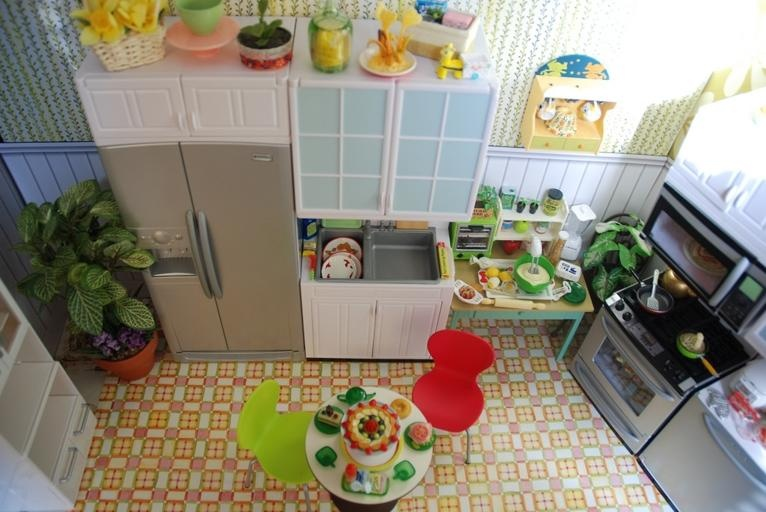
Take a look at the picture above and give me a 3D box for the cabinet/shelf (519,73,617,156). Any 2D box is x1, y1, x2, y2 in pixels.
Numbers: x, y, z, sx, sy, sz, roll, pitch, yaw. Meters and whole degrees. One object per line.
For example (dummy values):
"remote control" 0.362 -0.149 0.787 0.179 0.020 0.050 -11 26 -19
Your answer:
"cabinet/shelf" 1.490 -1.179 3.536 0.688 0.610 0.284 2 52 0

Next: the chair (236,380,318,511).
"chair" -0.856 1.557 3.477 0.617 0.891 0.536 26 65 12

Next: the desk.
"desk" 1.304 0.670 4.858 1.734 1.189 0.847 1 60 0

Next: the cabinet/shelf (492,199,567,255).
"cabinet/shelf" 1.397 -0.304 4.121 0.626 0.617 0.234 -1 57 1

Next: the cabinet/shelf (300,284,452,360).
"cabinet/shelf" -0.091 0.444 4.109 1.341 0.926 0.703 -1 58 -2

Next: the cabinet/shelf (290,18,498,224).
"cabinet/shelf" 0.042 -1.020 3.130 1.513 1.382 0.883 0 55 -3
